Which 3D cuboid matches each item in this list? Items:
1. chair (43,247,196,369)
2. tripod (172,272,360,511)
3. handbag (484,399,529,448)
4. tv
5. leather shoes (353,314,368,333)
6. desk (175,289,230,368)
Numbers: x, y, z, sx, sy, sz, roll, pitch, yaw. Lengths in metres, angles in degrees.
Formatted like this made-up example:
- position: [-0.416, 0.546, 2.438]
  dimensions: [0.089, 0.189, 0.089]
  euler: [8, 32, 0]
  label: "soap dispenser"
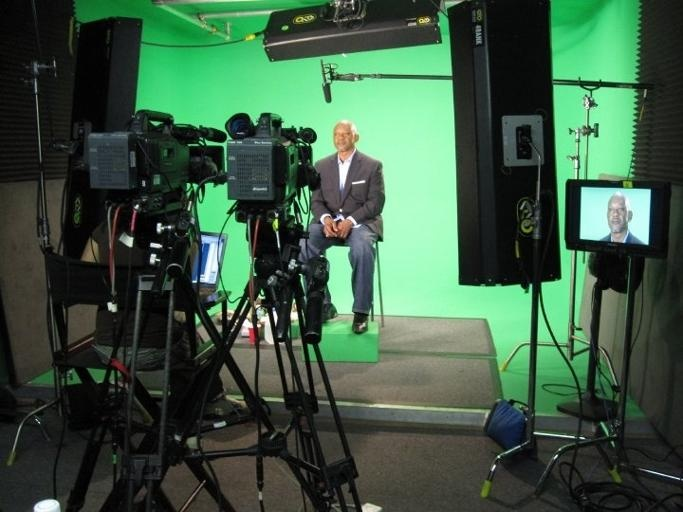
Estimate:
- position: [-1.296, 0.284, 3.881]
  dimensions: [0.730, 0.920, 0.710]
  euler: [5, -10, -43]
  label: "chair"
- position: [-0.335, 0.761, 3.509]
  dimensions: [0.816, 1.483, 0.918]
  euler: [-1, 7, -3]
  label: "tripod"
- position: [1.066, 1.089, 4.161]
  dimensions: [0.095, 0.285, 0.277]
  euler: [20, 16, -33]
  label: "handbag"
- position: [1.633, -0.222, 3.787]
  dimensions: [0.426, 0.347, 0.059]
  euler: [4, 5, 32]
  label: "tv"
- position: [0.148, 0.552, 5.187]
  dimensions: [0.098, 0.127, 0.281]
  euler: [0, -7, 2]
  label: "leather shoes"
- position: [-0.856, 0.453, 3.809]
  dimensions: [0.341, 0.212, 0.851]
  euler: [1, 8, -1]
  label: "desk"
